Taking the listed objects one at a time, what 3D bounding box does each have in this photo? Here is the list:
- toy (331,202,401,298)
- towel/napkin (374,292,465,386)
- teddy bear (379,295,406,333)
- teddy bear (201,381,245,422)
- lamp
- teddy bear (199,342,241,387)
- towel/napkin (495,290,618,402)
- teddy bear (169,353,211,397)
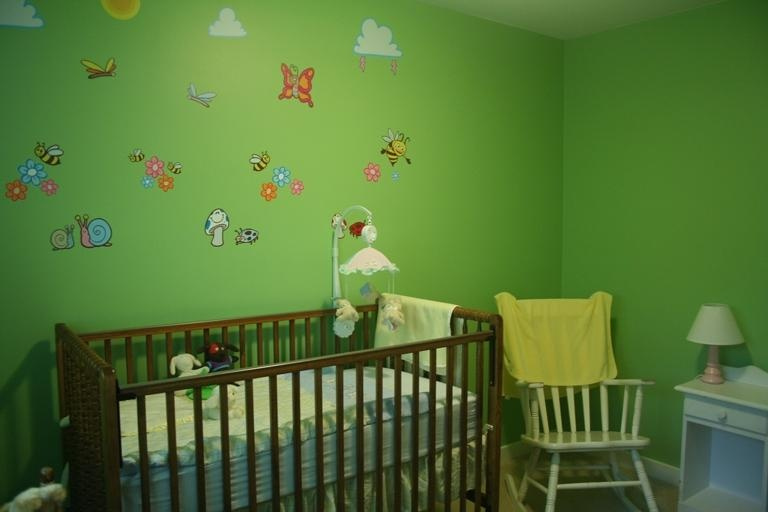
[{"bbox_3d":[-0.125,-0.003,3.565,0.337,0.575,0.438,0,4,-5],"label":"toy"},{"bbox_3d":[0.190,0.463,3.298,0.096,0.319,0.459,-4,8,-33],"label":"towel/napkin"},{"bbox_3d":[0.050,0.333,3.523,0.143,0.192,0.064,-2,-11,-5],"label":"teddy bear"},{"bbox_3d":[-0.745,0.713,2.970,0.236,0.163,0.230,-18,-16,29],"label":"teddy bear"},{"bbox_3d":[1.996,0.526,3.723,0.296,0.469,0.297,5,8,45],"label":"lamp"},{"bbox_3d":[-0.806,0.533,3.016,0.198,0.211,0.122,-1,-14,-27],"label":"teddy bear"},{"bbox_3d":[1.112,0.590,3.966,0.747,0.601,0.092,-1,-14,-5],"label":"towel/napkin"},{"bbox_3d":[-0.918,0.569,2.921,0.213,0.206,0.138,-1,0,4],"label":"teddy bear"}]
